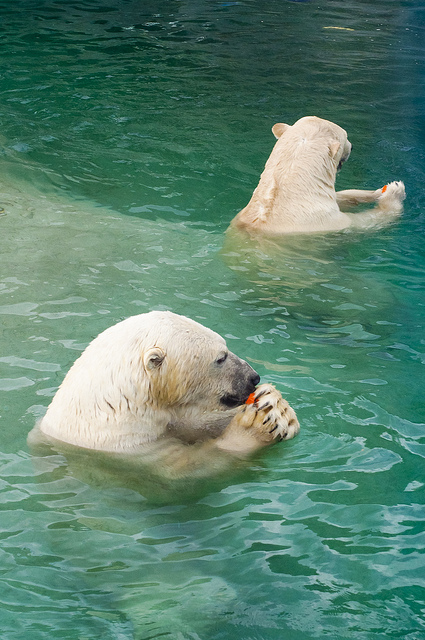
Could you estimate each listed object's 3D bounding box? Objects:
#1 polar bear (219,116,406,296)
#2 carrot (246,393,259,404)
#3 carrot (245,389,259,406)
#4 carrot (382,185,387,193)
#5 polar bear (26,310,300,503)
[{"bbox_3d":[0.898,-1.150,6.337,1.429,1.151,2.548,8,23,18],"label":"polar bear"},{"bbox_3d":[0.209,0.405,3.601,0.045,0.056,0.033,12,-4,19],"label":"carrot"},{"bbox_3d":[0.205,0.403,3.608,0.063,0.068,0.034,5,-3,-29],"label":"carrot"},{"bbox_3d":[1.822,-1.368,7.378,0.024,0.071,0.059,39,-26,-28],"label":"carrot"},{"bbox_3d":[-0.226,0.375,3.358,1.172,0.681,0.754,-13,26,-30],"label":"polar bear"}]
